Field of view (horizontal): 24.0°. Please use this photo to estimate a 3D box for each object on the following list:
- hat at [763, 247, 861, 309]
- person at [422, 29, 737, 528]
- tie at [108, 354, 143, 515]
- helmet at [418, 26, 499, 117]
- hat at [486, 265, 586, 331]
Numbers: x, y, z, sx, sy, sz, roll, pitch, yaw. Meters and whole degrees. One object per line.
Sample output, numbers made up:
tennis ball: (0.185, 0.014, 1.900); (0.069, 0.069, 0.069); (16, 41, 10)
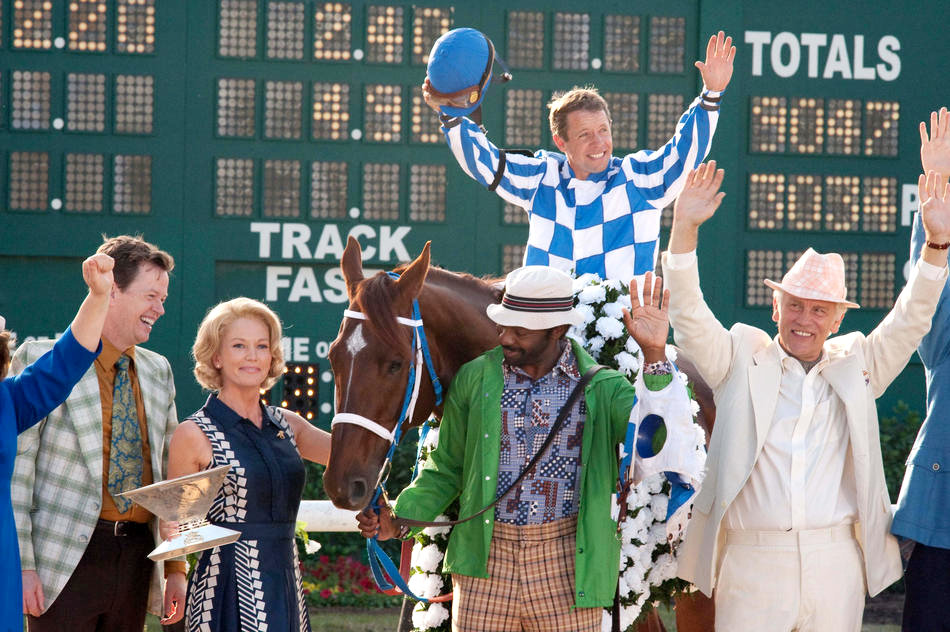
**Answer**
hat: (1.904, -0.201, 12.489); (0.346, 0.411, 0.531); (0, -5, -7)
person: (0.628, -0.200, 13.139); (1.098, 2.802, 0.948); (1, 1, 16)
tie: (-1.972, 0.699, 12.571); (0.163, 0.800, 0.178); (14, -31, -19)
helmet: (-0.043, -1.381, 12.833); (0.344, 0.511, 0.400); (10, -17, 20)
hat: (0.344, -0.077, 12.248); (0.369, 0.379, 0.317); (0, 16, -4)
